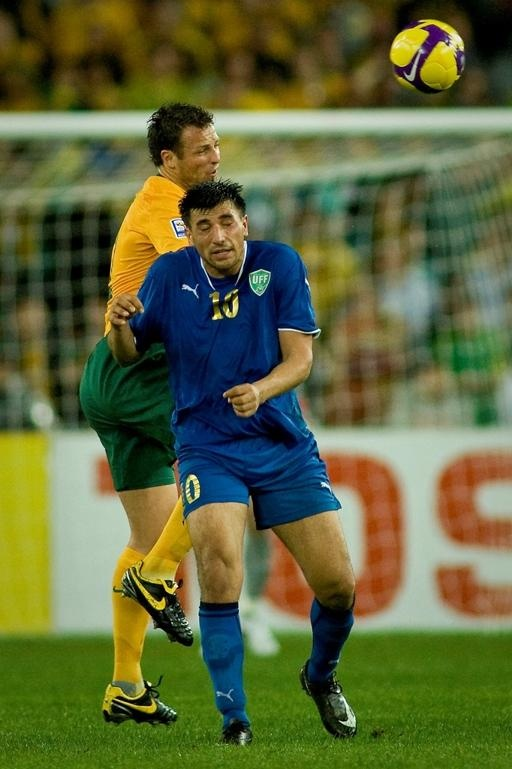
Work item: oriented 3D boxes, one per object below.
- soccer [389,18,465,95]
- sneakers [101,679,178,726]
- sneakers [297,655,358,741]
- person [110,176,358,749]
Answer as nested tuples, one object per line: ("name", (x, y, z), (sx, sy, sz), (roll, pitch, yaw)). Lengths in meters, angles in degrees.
("soccer", (0.729, -1.380, 3.959), (0.296, 0.266, 0.305), (15, -30, 10))
("sneakers", (-0.403, 1.087, 3.194), (0.305, 0.155, 0.119), (9, -10, -21))
("sneakers", (0.228, 0.983, 2.900), (0.101, 0.114, 0.263), (-12, 52, -43))
("person", (-0.058, 0.258, 2.715), (0.604, 1.679, 0.556), (-8, 8, -9))
